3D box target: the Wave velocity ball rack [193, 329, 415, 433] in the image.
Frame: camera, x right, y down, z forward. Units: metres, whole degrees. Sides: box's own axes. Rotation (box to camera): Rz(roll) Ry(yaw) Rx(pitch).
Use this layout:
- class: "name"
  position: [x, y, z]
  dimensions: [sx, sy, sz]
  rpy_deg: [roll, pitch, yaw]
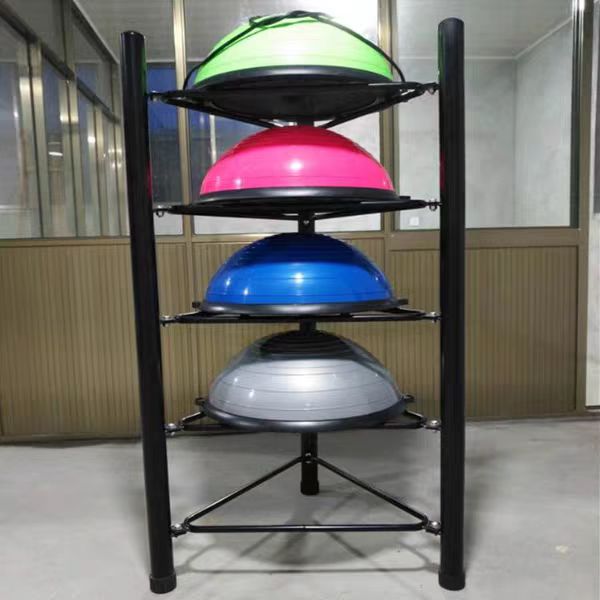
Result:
- class: "Wave velocity ball rack"
  position: [0.022, 0.267, 2.378]
  dimensions: [0.687, 0.234, 0.399]
  rpy_deg: [-3, 13, -8]

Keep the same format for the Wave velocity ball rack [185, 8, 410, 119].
- class: "Wave velocity ball rack"
  position: [0.010, -0.815, 2.471]
  dimensions: [0.778, 0.266, 0.783]
  rpy_deg: [0, 8, 9]

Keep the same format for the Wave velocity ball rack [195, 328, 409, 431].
- class: "Wave velocity ball rack"
  position: [-0.012, 0.262, 2.611]
  dimensions: [0.816, 0.335, 0.822]
  rpy_deg: [-1, 0, 6]

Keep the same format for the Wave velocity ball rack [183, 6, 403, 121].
- class: "Wave velocity ball rack"
  position: [0.006, -0.841, 2.381]
  dimensions: [0.593, 0.218, 0.632]
  rpy_deg: [-2, 19, -8]
